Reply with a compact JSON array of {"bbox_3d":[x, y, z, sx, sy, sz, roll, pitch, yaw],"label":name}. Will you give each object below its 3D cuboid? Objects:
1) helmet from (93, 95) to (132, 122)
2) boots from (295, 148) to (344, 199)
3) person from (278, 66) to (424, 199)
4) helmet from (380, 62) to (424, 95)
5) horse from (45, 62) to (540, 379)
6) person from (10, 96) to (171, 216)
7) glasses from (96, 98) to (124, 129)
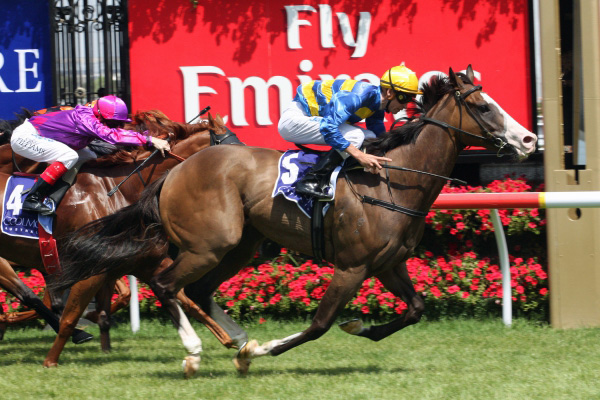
[{"bbox_3d":[-1.519,-0.753,7.052,0.378,0.173,0.257,3,12,-12],"label":"helmet"},{"bbox_3d":[0.139,-0.199,6.506,0.301,0.342,0.254,1,13,15],"label":"boots"},{"bbox_3d":[0.362,-0.585,6.771,1.138,0.948,0.777,14,15,14],"label":"person"},{"bbox_3d":[0.763,-0.967,6.650,0.367,0.176,0.267,15,29,15],"label":"helmet"},{"bbox_3d":[-0.143,0.078,6.790,3.844,1.784,0.759,-5,1,10],"label":"horse"},{"bbox_3d":[-1.616,-0.442,7.215,1.471,0.815,0.725,-2,19,-8],"label":"person"},{"bbox_3d":[-1.497,-0.700,7.049,0.284,0.182,0.165,17,-31,-36],"label":"glasses"}]
